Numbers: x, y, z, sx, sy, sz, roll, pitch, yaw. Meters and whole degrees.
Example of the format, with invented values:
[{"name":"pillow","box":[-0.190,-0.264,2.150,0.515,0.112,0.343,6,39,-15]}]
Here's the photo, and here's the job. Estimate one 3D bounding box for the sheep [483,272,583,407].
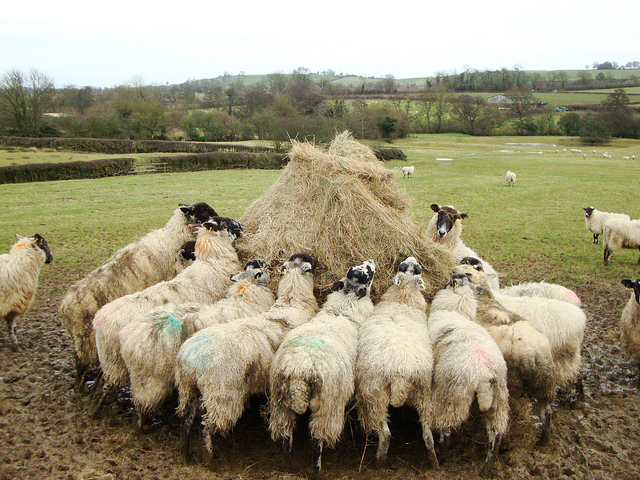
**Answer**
[{"name":"sheep","box":[4.429,1.624,11.753,1.012,2.148,2.385,-14,17,-32]}]
